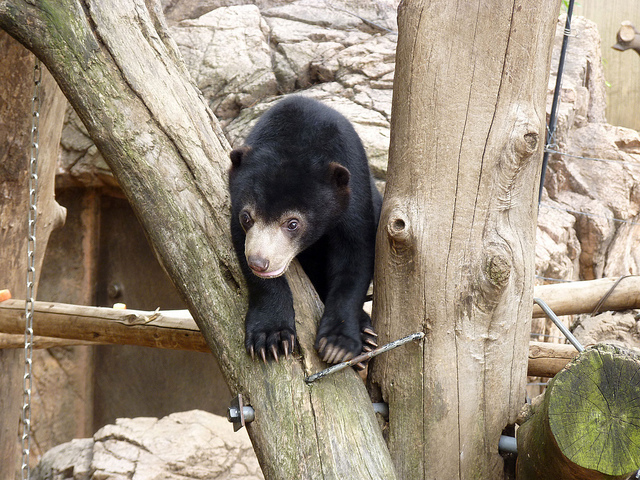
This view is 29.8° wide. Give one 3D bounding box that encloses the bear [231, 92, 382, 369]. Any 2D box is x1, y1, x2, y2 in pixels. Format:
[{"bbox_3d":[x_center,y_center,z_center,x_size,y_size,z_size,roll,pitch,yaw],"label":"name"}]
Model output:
[{"bbox_3d":[-0.139,-0.167,8.135,0.864,1.286,1.855,3,34,3],"label":"bear"}]
